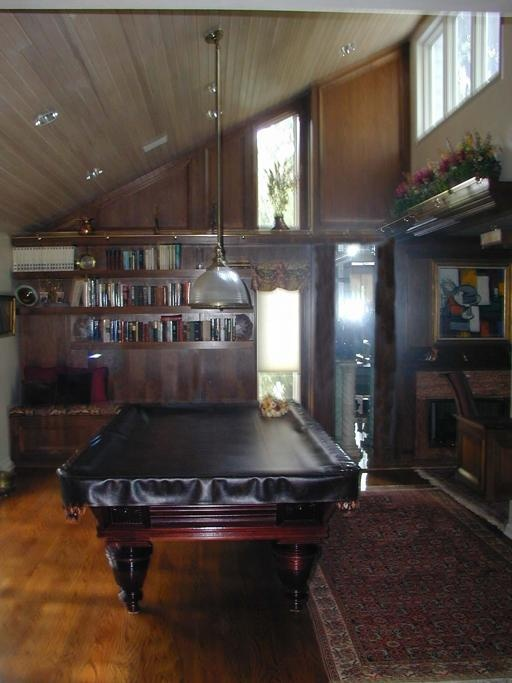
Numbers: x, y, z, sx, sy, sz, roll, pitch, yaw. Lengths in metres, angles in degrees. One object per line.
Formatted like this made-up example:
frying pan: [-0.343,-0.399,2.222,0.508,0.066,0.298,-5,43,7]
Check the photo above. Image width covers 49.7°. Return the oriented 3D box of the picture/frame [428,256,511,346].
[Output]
picture/frame: [2.338,-0.465,5.973,0.954,0.949,0.070,-1,4,1]
